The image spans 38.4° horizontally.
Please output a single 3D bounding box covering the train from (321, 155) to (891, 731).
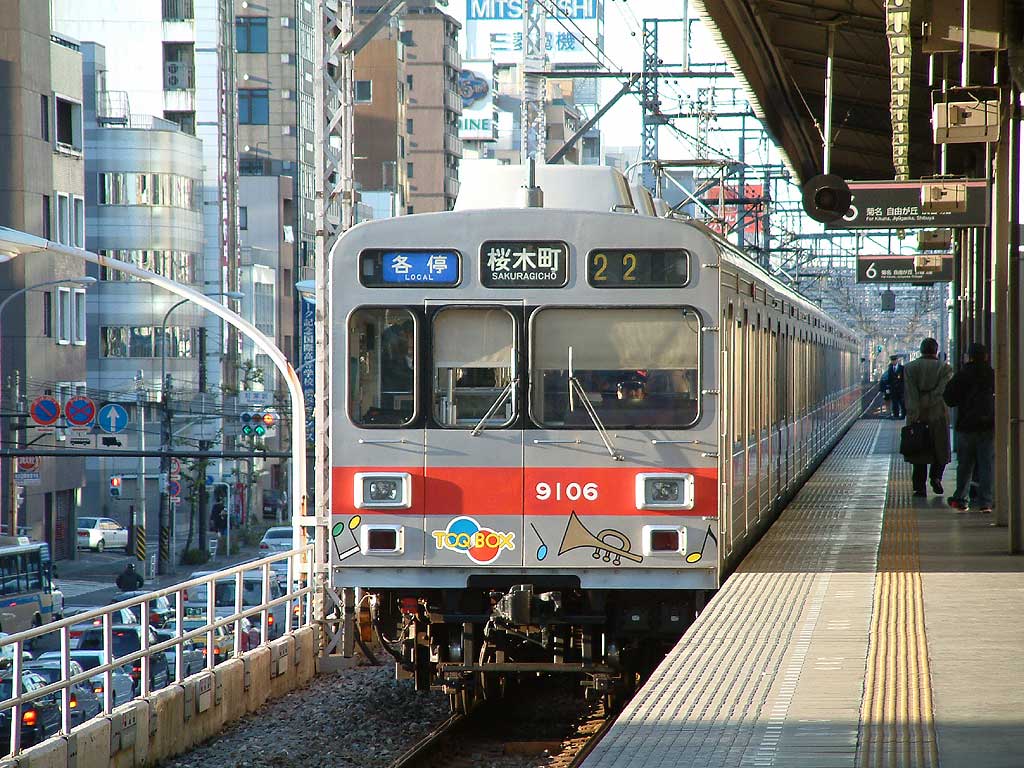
[{"bbox_3d":[0.446,0.387,12.919,1.773,3.317,10.524,-1,-2,11],"label":"train"}]

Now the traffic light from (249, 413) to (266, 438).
[{"bbox_3d":[-8.483,1.343,48.894,0.742,0.839,0.238,-4,-4,21],"label":"traffic light"}]

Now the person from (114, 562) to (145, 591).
[{"bbox_3d":[-12.592,6.323,48.195,0.776,0.935,0.458,4,11,5],"label":"person"}]
